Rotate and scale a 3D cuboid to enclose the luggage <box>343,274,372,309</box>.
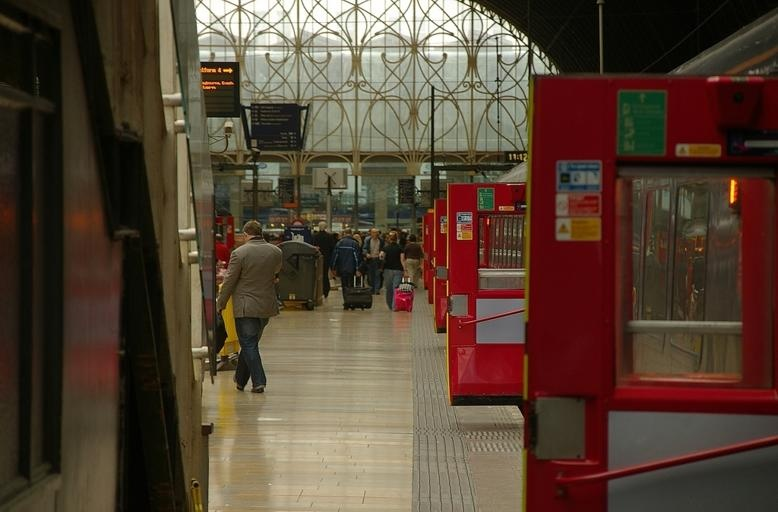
[{"bbox_3d":[-0.777,0.871,20.966,0.644,0.822,1.054,0,3,-2],"label":"luggage"}]

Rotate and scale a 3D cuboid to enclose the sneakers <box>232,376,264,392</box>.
[{"bbox_3d":[-1.778,1.614,10.967,0.170,0.244,0.513,2,6,-36],"label":"sneakers"}]

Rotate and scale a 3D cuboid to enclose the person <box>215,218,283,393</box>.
[{"bbox_3d":[-1.701,0.647,10.619,0.751,2.133,0.792,0,3,-9],"label":"person"}]

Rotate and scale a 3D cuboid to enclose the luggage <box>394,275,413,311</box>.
[{"bbox_3d":[0.368,0.923,20.489,0.396,0.723,0.395,7,49,3],"label":"luggage"}]
